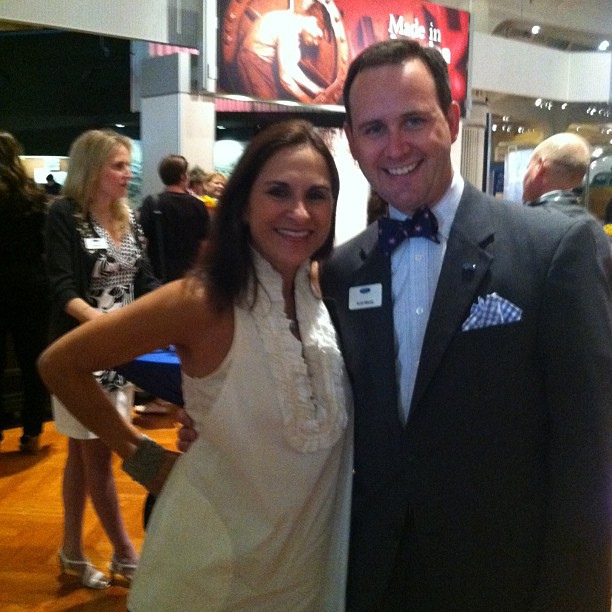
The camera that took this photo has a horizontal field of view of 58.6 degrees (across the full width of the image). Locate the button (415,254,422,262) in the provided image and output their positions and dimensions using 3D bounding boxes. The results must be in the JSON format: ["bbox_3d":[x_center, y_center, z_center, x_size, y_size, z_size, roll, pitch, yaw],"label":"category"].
[{"bbox_3d":[0.258,-0.111,1.245,0.012,0.015,0.003,-4,-9,39],"label":"button"}]

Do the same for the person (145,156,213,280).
[{"bbox_3d":[-1.050,-0.430,4.433,0.466,1.571,0.439,-5,24,-23],"label":"person"}]

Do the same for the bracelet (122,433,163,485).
[{"bbox_3d":[-0.388,0.373,1.313,0.076,0.114,0.095,34,36,-1],"label":"bracelet"}]

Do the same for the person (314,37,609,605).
[{"bbox_3d":[0.325,0.055,1.199,0.614,1.291,0.295,2,8,30],"label":"person"}]

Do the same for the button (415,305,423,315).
[{"bbox_3d":[0.251,0.008,1.208,0.015,0.018,0.004,-4,-11,41],"label":"button"}]
